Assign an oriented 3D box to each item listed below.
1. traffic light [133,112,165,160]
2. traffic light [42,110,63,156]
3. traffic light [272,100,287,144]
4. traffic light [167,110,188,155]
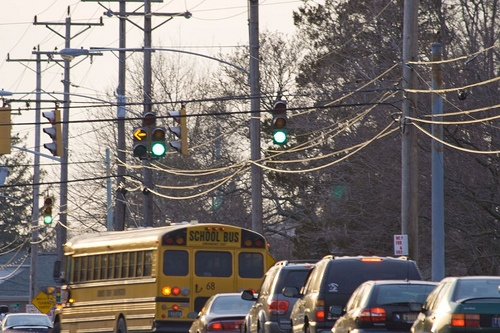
[{"bbox_3d":[-3.965,-1.202,51.793,1.200,1.825,0.897,-2,-4,5],"label":"traffic light"},{"bbox_3d":[-7.843,-1.309,52.982,0.774,1.949,0.472,-7,-14,16],"label":"traffic light"},{"bbox_3d":[1.081,-1.711,50.562,0.543,1.670,0.914,-2,-4,1],"label":"traffic light"},{"bbox_3d":[-2.823,-1.306,52.111,0.705,1.762,0.409,-3,-10,8],"label":"traffic light"}]
